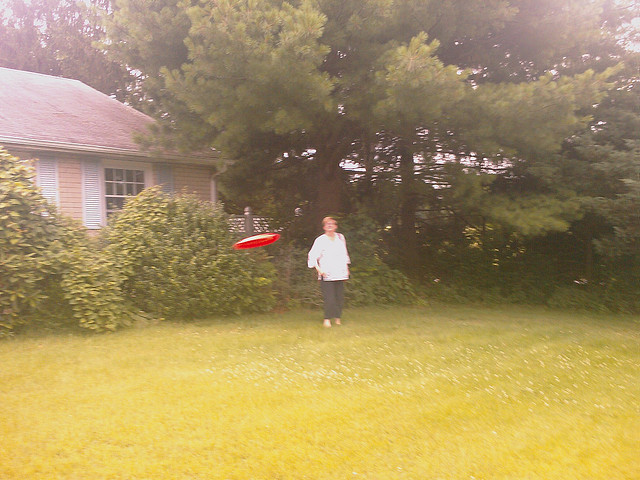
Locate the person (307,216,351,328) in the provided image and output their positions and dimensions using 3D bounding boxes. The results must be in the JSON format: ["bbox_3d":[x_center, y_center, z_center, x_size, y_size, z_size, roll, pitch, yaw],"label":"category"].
[{"bbox_3d":[0.167,0.557,9.506,0.649,1.860,0.620,-3,-3,1],"label":"person"}]
